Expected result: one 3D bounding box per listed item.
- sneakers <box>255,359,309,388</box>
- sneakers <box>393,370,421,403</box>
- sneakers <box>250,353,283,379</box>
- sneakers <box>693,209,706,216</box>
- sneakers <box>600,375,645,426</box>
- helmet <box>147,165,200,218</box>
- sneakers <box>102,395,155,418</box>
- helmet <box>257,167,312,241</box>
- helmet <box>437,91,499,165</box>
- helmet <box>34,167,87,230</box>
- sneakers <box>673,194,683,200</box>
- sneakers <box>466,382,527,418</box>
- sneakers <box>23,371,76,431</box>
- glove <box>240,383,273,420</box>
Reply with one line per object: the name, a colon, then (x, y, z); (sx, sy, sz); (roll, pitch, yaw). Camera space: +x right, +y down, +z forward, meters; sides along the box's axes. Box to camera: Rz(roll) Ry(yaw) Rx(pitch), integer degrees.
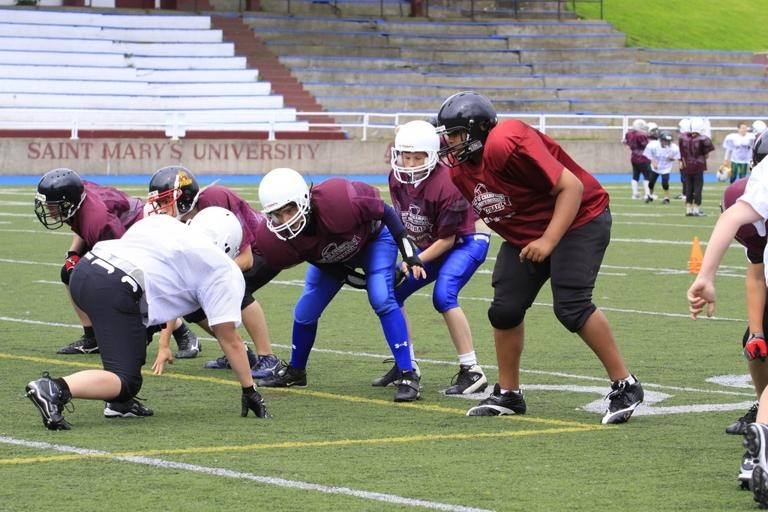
sneakers: (-0.812, 0.988, 9.527); (0.535, 0.191, 0.158); (2, 2, -1)
sneakers: (0.194, 1.013, 9.128); (0.207, 0.225, 0.311); (0, 7, 2)
sneakers: (-1.001, 0.930, 9.690); (0.129, 0.143, 0.380); (-3, -2, 39)
sneakers: (5.982, -0.821, 21.620); (0.295, 0.165, 0.083); (-3, 49, -14)
sneakers: (1.747, 1.043, 8.454); (0.201, 0.239, 0.574); (-2, 16, 34)
helmet: (-1.778, -0.543, 9.694); (0.519, 0.367, 0.404); (-15, 12, -33)
sneakers: (-1.897, 1.129, 8.573); (0.424, 0.157, 0.131); (2, 1, -5)
helmet: (-0.751, -0.405, 8.799); (0.393, 0.427, 0.484); (-21, 14, 23)
helmet: (0.522, -0.956, 8.541); (0.618, 0.504, 0.469); (-7, 3, -14)
helmet: (-2.669, -0.497, 9.495); (0.514, 0.401, 0.375); (-12, 24, -18)
sneakers: (6.661, -1.328, 25.750); (0.127, 0.120, 0.339); (1, -1, 1)
sneakers: (0.852, 1.094, 8.716); (0.547, 0.211, 0.185); (2, -6, -31)
sneakers: (-2.359, 1.029, 8.103); (0.173, 0.458, 0.277); (-4, 28, 48)
glove: (-0.915, 1.073, 8.495); (0.320, 0.243, 0.124); (0, 0, 35)
